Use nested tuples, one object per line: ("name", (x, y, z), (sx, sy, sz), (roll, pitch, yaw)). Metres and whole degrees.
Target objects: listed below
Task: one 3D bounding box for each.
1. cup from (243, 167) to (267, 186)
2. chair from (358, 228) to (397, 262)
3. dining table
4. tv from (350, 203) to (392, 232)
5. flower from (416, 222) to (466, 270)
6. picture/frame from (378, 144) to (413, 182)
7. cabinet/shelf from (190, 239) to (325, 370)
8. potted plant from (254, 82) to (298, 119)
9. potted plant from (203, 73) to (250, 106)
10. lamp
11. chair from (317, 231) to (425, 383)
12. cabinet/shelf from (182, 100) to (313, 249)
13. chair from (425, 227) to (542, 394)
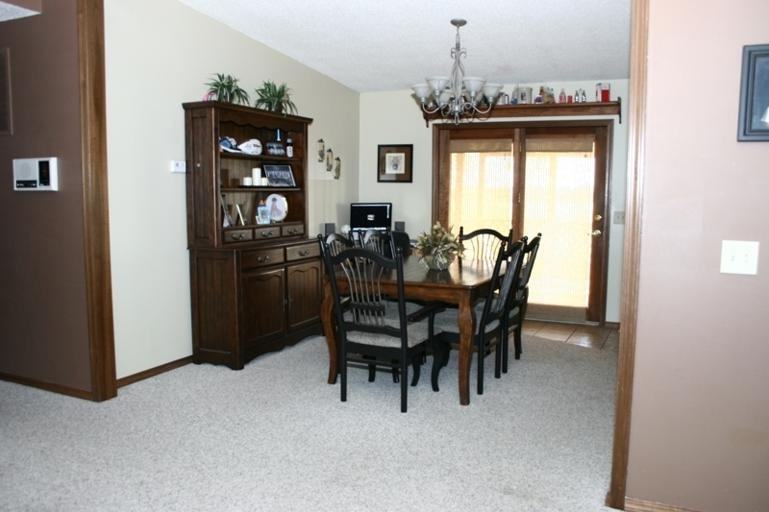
("cup", (-1.352, -0.783, 5.510), (0.213, 0.155, 0.210), (1, 5, 0))
("chair", (-0.082, -0.116, 5.711), (0.354, 0.538, 0.350), (-2, 10, -9))
("dining table", (0.583, 0.766, 5.145), (2.127, 1.018, 1.473), (8, -8, -41))
("tv", (-0.195, -0.494, 7.074), (0.446, 0.328, 0.122), (0, 5, 4))
("flower", (0.517, -0.085, 5.017), (0.426, 0.397, 0.413), (-1, 0, -21))
("picture/frame", (0.158, -1.330, 7.622), (0.509, 0.534, 0.035), (3, 7, 21))
("cabinet/shelf", (-1.268, 0.414, 5.633), (0.575, 1.142, 1.501), (2, 6, 25))
("potted plant", (-1.199, -1.658, 5.851), (0.471, 0.335, 0.476), (5, 16, 11))
("potted plant", (-1.566, -1.570, 5.259), (0.402, 0.283, 0.413), (5, 9, 20))
("lamp", (0.687, -1.688, 5.272), (0.962, 0.937, 0.992), (1, 0, 15))
("chair", (0.019, 0.539, 4.508), (0.832, 1.330, 0.909), (4, 7, 37))
("cabinet/shelf", (-1.326, -0.781, 5.483), (0.424, 1.355, 1.400), (5, 8, 30))
("chair", (0.964, 0.453, 5.374), (1.254, 1.861, 1.174), (4, 7, 37))
